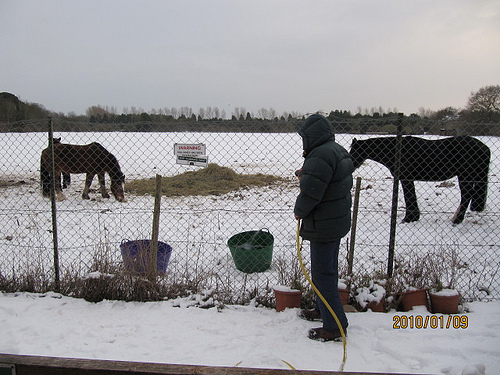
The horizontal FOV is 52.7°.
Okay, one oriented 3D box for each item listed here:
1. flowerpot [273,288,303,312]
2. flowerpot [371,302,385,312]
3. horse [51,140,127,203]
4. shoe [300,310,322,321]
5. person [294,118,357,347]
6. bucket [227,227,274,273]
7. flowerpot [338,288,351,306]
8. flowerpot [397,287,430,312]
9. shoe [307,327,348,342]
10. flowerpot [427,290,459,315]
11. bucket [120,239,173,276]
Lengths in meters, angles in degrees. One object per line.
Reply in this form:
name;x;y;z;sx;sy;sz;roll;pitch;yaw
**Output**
flowerpot;0.552;1.696;7.485;0.341;0.328;0.409;7;-5;-23
flowerpot;1.859;1.723;7.315;0.141;0.147;0.128;-3;0;38
horse;-4.309;-0.403;13.184;2.368;1.607;0.634;8;4;0
shoe;0.873;1.787;7.150;0.285;0.136;0.124;9;9;5
person;0.975;0.595;6.691;0.797;3.018;0.556;2;-3;-11
bucket;0.063;1.092;8.843;0.750;0.612;0.794;-1;5;0
flowerpot;1.350;1.555;7.353;0.202;0.279;0.272;0;7;1
flowerpot;2.405;1.611;7.382;0.326;0.273;0.345;-12;-10;26
shoe;1.064;1.943;6.908;0.497;0.246;0.197;8;4;1
flowerpot;2.806;1.668;7.266;0.282;0.227;0.301;0;3;29
bucket;-1.698;1.088;8.069;0.741;0.545;0.943;1;-2;7
